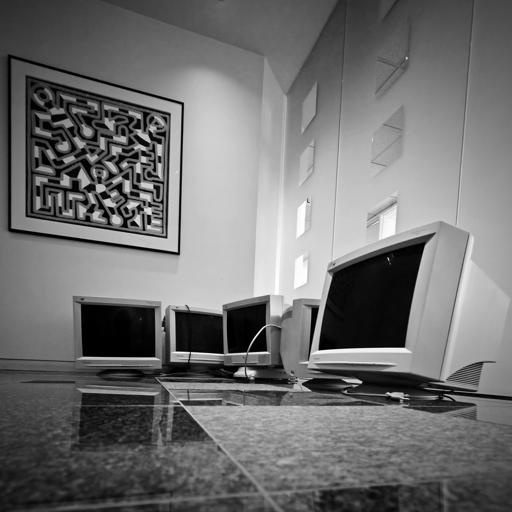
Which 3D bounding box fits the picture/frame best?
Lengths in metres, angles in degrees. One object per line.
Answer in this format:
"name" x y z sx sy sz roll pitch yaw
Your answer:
"picture/frame" -1.215 -0.698 3.024 1.228 1.458 0.049 6 -10 -33
